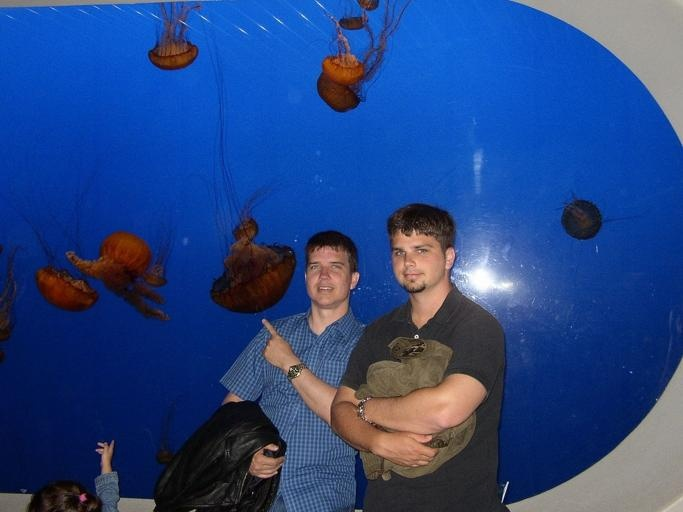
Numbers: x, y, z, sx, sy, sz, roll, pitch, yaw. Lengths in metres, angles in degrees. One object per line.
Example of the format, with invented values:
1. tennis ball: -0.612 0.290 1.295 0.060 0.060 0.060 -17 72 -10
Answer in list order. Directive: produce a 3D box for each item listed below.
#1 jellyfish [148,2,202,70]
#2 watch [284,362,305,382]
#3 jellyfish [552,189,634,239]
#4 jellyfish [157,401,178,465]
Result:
1. jellyfish: -0.833 -1.082 3.020 0.283 0.442 0.284 -2 8 -24
2. watch: -0.192 0.477 2.546 0.062 0.069 0.018 -18 -42 38
3. jellyfish: 1.143 -0.196 2.763 0.143 0.200 0.285 7 12 43
4. jellyfish: -0.859 0.872 3.009 0.138 0.301 0.047 -14 -17 39
